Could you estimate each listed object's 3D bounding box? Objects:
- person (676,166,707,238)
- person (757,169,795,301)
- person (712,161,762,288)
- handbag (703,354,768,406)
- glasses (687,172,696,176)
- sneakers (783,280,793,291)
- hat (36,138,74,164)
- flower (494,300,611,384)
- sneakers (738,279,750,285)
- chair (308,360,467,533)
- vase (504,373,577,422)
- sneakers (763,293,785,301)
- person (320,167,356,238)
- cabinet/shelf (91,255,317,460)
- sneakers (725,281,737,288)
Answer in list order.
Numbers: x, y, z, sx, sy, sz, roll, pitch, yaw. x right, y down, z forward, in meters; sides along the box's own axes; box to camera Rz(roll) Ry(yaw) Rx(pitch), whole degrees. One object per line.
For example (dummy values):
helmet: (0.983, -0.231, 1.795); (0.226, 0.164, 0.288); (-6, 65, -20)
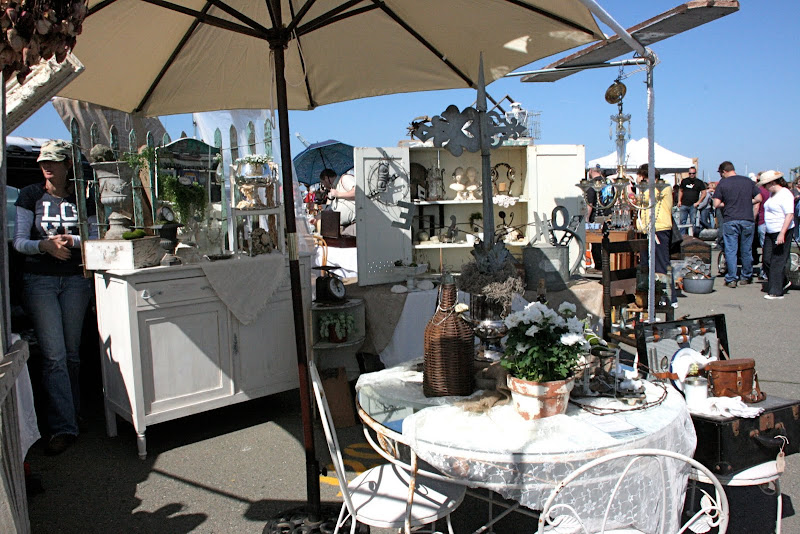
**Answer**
person: (6.184, -1.335, 13.233); (0.593, 1.582, 0.451); (6, 16, 36)
person: (5.753, -0.504, 9.535); (0.438, 1.860, 0.880); (4, 15, 22)
person: (5.579, -0.744, 10.408); (0.695, 2.044, 0.625); (0, 2, 15)
handbag: (2.246, 0.738, 4.188); (0.363, 0.277, 0.273); (-2, -4, -1)
glasses: (6.097, -1.969, 13.055); (0.108, 0.104, 0.190); (6, 16, 29)
sneakers: (6.286, 0.286, 10.123); (0.040, 0.153, 0.110); (40, -9, 31)
hat: (-2.936, -0.985, 5.321); (0.172, 0.130, 0.240); (0, 0, -2)
flower: (0.819, 0.363, 3.497); (0.476, 0.361, 0.445); (-3, 0, -15)
sneakers: (5.905, 0.245, 10.677); (0.075, 0.092, 0.210); (-2, -4, 39)
chair: (0.012, 1.236, 4.265); (1.013, 1.584, 0.858); (-5, 14, -3)
vase: (0.815, 0.748, 3.623); (0.378, 0.247, 0.386); (-3, -3, 35)
sneakers: (5.697, 0.437, 9.464); (0.322, 0.145, 0.120); (-2, 5, 17)
person: (-0.858, -0.887, 8.626); (0.474, 0.532, 1.239); (10, 20, -17)
cabinet/shelf: (-1.699, 0.748, 5.330); (0.591, 1.393, 1.560); (1, 4, 45)
sneakers: (5.569, 0.276, 10.469); (0.065, 0.081, 0.199); (-1, -4, 5)
